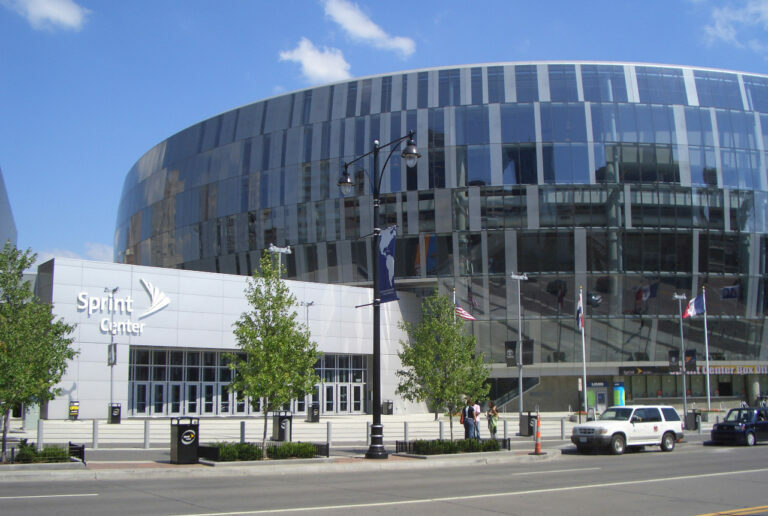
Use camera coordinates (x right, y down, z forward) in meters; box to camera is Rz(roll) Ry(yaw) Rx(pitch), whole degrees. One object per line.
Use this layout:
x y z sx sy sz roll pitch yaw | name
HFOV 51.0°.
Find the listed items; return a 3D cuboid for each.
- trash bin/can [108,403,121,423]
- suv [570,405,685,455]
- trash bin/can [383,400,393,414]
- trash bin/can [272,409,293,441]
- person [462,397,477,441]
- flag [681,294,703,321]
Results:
-20.192 11.606 60.424 0.897 1.592 2.117 2 -13 -20 | trash bin/can
13.268 9.460 44.572 6.133 2.538 1.328 3 -13 -25 | suv
-0.050 13.692 74.031 1.021 1.475 0.998 3 -12 -19 | trash bin/can
-6.135 9.841 47.302 1.053 1.723 2.497 -1 -13 -10 | trash bin/can
4.471 8.837 44.652 0.745 2.026 0.592 -4 -12 7 | person
27.449 4.293 73.625 2.493 2.464 0.376 -2 -4 8 | flag
